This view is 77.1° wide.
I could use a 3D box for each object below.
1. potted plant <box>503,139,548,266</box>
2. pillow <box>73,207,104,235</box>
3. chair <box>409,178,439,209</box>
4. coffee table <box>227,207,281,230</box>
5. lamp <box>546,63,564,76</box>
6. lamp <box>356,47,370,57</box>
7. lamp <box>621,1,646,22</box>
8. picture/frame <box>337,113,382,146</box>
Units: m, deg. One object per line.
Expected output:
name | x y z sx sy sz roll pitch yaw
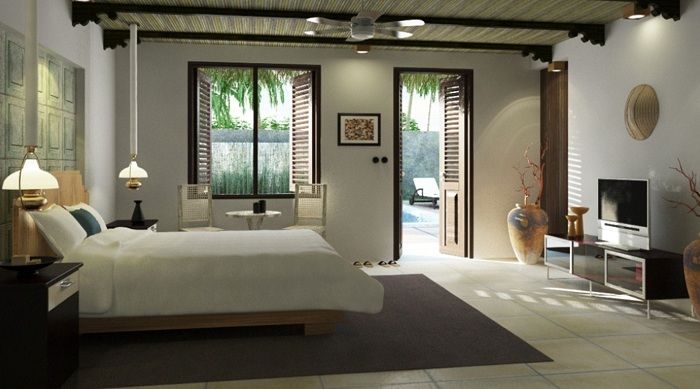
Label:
potted plant | 3.302 0.262 8.111 0.644 1.977 1.331 6 15 24
pillow | -3.506 0.341 5.875 0.110 0.350 0.331 -33 -6 23
chair | 2.409 -0.131 14.834 0.707 0.615 1.174 0 -2 -19
coffee table | -1.667 0.372 7.530 0.566 0.227 0.540 -1 4 -24
lamp | 3.768 -2.326 8.037 0.218 0.133 0.228 0 0 43
lamp | 0.236 -2.620 7.951 0.246 0.112 0.436 1 13 5
lamp | 4.198 -2.704 6.423 0.300 0.187 0.300 -2 14 -10
picture/frame | 0.144 -1.232 8.217 0.701 0.463 0.050 0 -1 -8
